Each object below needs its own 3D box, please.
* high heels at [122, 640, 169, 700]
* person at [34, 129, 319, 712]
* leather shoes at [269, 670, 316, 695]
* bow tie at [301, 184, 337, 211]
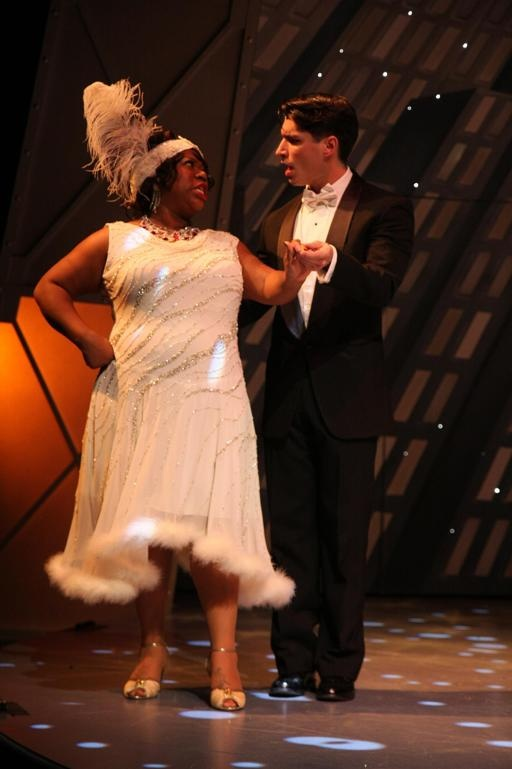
[{"bbox_3d":[-0.260,0.669,1.818,0.087,0.131,0.145,-1,-11,11],"label":"high heels"},{"bbox_3d":[-0.204,0.066,1.853,0.670,1.341,0.413,0,-12,5],"label":"person"},{"bbox_3d":[0.094,0.749,1.911,0.049,0.051,0.129,-15,-22,39],"label":"leather shoes"},{"bbox_3d":[0.169,-0.492,1.996,0.100,0.068,0.026,1,7,31],"label":"bow tie"}]
